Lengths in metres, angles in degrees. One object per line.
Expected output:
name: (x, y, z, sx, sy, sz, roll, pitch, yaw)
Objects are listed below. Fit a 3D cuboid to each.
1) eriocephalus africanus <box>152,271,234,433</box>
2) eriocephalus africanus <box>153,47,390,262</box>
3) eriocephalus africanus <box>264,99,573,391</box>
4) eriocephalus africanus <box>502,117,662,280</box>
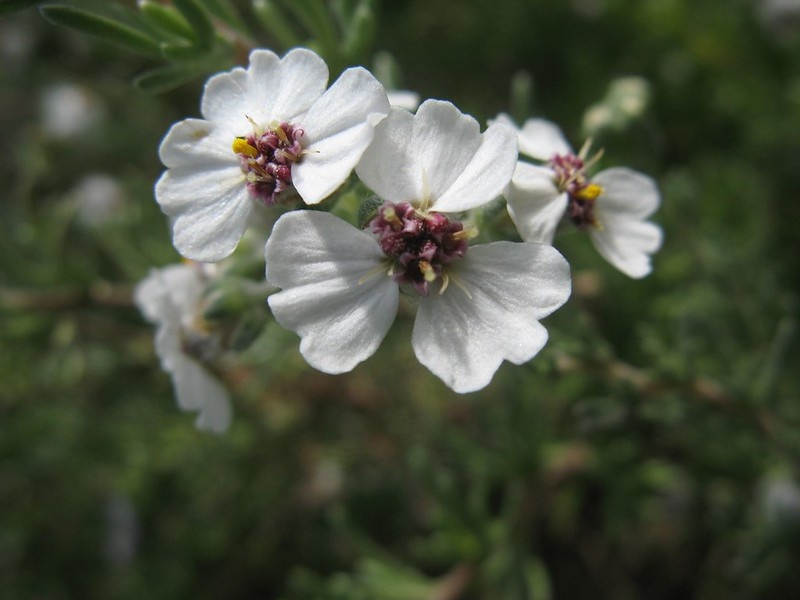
eriocephalus africanus: (-0.749, 0.157, 2.864, 0.298, 0.491, 0.586, -8, 19, -19)
eriocephalus africanus: (-0.357, -0.355, 2.698, 0.818, 0.392, 0.797, -5, -23, 29)
eriocephalus africanus: (0.054, -0.151, 2.515, 0.406, 1.011, 0.912, 31, 35, 32)
eriocephalus africanus: (0.521, -0.210, 2.612, 0.661, 0.396, 0.692, -2, -7, 21)
